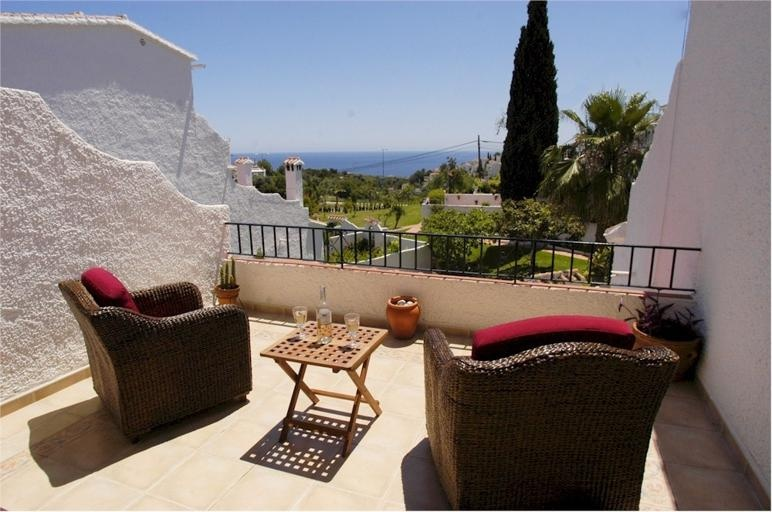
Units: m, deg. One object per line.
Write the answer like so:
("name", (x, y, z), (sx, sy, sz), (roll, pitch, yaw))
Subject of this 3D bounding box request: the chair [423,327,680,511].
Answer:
("chair", (1.125, 0.965, 3.874), (1.200, 1.707, 1.417), (-3, 28, 2))

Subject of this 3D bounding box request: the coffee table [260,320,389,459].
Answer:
("coffee table", (-0.467, 1.084, 4.261), (0.878, 1.017, 0.754), (0, 7, 19))

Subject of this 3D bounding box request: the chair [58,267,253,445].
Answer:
("chair", (-1.882, 0.780, 4.583), (1.513, 1.378, 1.326), (-17, 25, -38))

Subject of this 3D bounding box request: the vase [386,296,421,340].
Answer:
("vase", (0.205, 0.667, 5.553), (0.444, 0.437, 0.410), (-9, 11, -33))

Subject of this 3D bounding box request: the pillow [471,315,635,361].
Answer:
("pillow", (1.135, 0.555, 3.342), (1.073, 0.280, 0.153), (-2, 7, 1))
